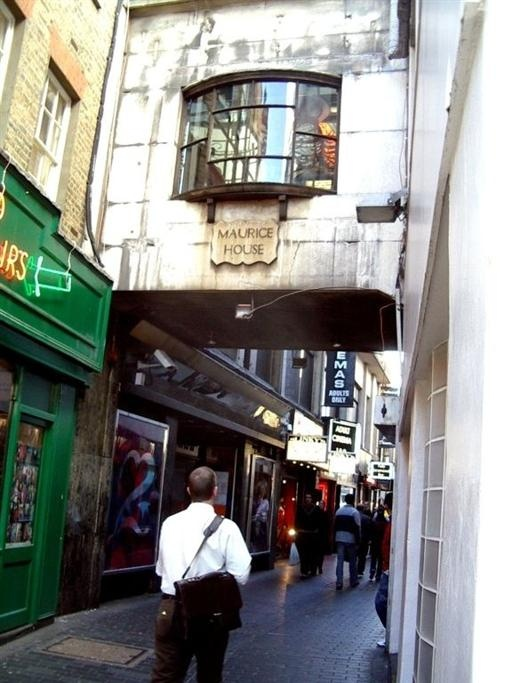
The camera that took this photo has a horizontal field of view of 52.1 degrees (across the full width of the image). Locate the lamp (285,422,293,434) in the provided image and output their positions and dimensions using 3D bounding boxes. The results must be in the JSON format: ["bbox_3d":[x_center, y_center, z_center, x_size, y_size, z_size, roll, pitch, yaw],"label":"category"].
[{"bbox_3d":[1.164,3.118,18.814,0.164,0.398,0.541,-2,-12,21],"label":"lamp"}]

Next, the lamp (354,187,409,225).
[{"bbox_3d":[1.823,-2.000,7.673,0.699,0.314,0.542,-1,-12,15],"label":"lamp"}]

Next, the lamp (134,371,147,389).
[{"bbox_3d":[-2.264,0.778,10.309,0.206,0.494,0.235,0,0,8],"label":"lamp"}]

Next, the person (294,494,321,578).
[{"bbox_3d":[1.641,6.031,16.174,0.674,2.741,0.744,-1,15,-2],"label":"person"}]

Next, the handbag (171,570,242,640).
[{"bbox_3d":[-0.348,1.838,3.638,0.385,0.460,0.204,0,-5,-29],"label":"handbag"}]
